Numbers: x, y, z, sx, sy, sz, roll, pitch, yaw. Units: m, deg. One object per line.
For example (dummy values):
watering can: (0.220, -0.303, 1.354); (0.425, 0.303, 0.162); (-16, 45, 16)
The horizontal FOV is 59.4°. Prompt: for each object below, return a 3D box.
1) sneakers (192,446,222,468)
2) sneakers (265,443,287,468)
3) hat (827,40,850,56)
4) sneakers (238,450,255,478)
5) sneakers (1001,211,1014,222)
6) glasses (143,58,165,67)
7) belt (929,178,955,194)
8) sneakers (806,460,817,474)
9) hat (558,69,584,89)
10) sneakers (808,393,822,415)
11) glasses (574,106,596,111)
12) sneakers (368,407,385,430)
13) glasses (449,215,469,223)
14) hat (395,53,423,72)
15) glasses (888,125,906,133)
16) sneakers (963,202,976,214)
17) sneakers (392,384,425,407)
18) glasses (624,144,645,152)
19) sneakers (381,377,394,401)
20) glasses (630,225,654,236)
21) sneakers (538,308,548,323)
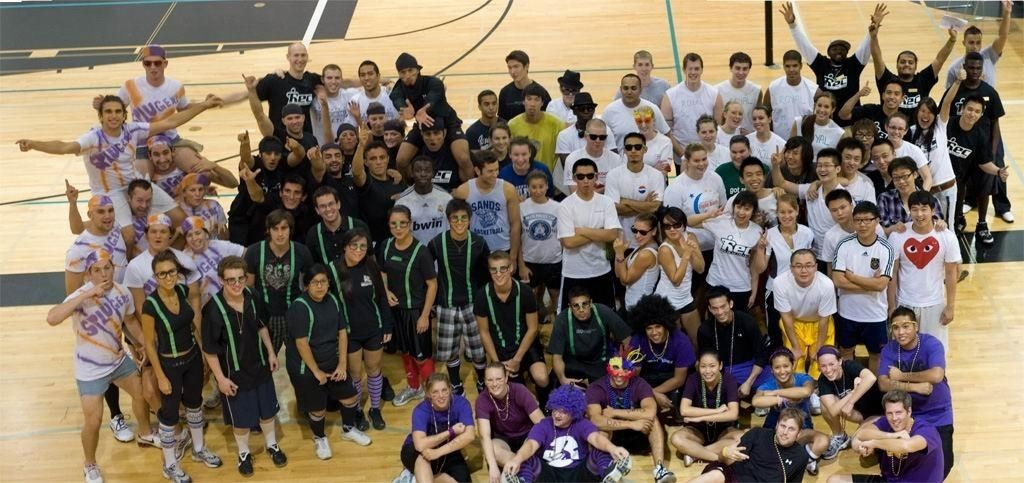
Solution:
sneakers: (-5.817, 4.097, 17.136); (0.628, 0.244, 0.269); (17, 40, 0)
sneakers: (-4.493, 4.010, 17.146); (0.248, 0.211, 0.554); (-24, 55, -28)
hat: (7.135, -4.150, 19.601); (0.386, 0.332, 0.316); (-1, 6, 14)
sneakers: (-5.058, 4.198, 16.998); (0.232, 0.204, 0.532); (-5, 33, -26)
sneakers: (11.041, -0.502, 19.927); (0.171, 0.118, 0.294); (-14, 34, 10)
glasses: (-7.301, -3.569, 18.277); (0.406, 0.157, 0.170); (-4, 6, -17)
belt: (8.920, -1.116, 18.542); (0.583, 0.251, 0.072); (-5, 7, -19)
sneakers: (5.655, 4.200, 16.831); (0.259, 0.291, 0.091); (-4, 7, -11)
hat: (1.241, -3.380, 19.380); (0.524, 0.198, 0.540); (6, 19, -4)
sneakers: (5.900, 3.147, 17.417); (0.246, 0.382, 0.176); (2, 11, 8)
glasses: (1.495, -2.715, 18.556); (0.456, 0.121, 0.203); (-3, 6, 0)
sneakers: (-2.652, 3.467, 17.540); (0.212, 0.197, 0.508); (-17, 45, -27)
glasses: (-1.035, -0.422, 17.433); (0.396, 0.145, 0.118); (-3, 6, -2)
hat: (-2.212, -3.755, 19.081); (0.425, 0.392, 0.662); (-2, 6, 10)
glasses: (7.786, -2.221, 18.080); (0.202, 0.058, 0.198); (6, -5, 14)
sneakers: (10.261, -0.722, 20.115); (0.236, 0.156, 0.586); (-12, -3, 22)
sneakers: (-2.079, 3.071, 17.910); (0.736, 0.290, 0.264); (-19, 47, 4)
glasses: (2.445, -1.847, 17.964); (0.363, 0.130, 0.120); (-2, 6, 7)
sneakers: (-2.492, 2.952, 17.998); (0.198, 0.200, 0.525); (-11, 33, -6)
glasses: (2.551, -0.205, 17.595); (0.422, 0.199, 0.154); (-1, 7, 17)
sneakers: (0.659, 1.532, 18.489); (0.220, 0.260, 0.270); (-6, 55, 6)
